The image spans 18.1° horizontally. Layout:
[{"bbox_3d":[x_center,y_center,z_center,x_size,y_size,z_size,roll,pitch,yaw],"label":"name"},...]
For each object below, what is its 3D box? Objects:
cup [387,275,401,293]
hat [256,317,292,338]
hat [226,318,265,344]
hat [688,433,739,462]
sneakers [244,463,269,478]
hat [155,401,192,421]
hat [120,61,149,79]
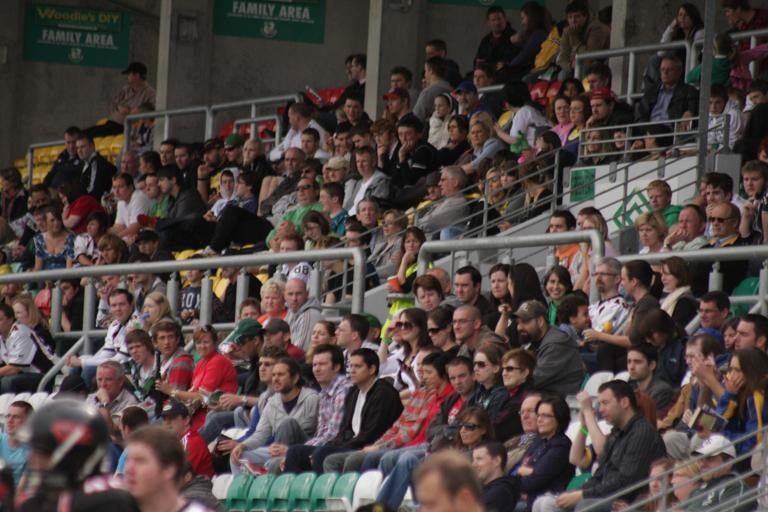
[{"bbox_3d":[0.136,0.314,31.188,0.201,0.181,0.200,-4,-5,0],"label":"cup"},{"bbox_3d":[-1.327,0.826,30.240,0.272,0.128,0.185,9,-10,-27],"label":"hat"},{"bbox_3d":[-1.739,0.891,30.551,0.412,0.208,0.258,-6,6,-5],"label":"hat"},{"bbox_3d":[3.745,2.078,27.366,0.340,0.172,0.240,11,-9,-1],"label":"hat"},{"bbox_3d":[-1.556,2.496,29.328,0.213,0.109,0.132,25,-16,-2],"label":"sneakers"},{"bbox_3d":[-2.544,1.811,29.397,0.282,0.153,0.198,10,-14,-28],"label":"hat"},{"bbox_3d":[-4.320,-3.177,41.121,0.565,0.307,0.379,13,1,-1],"label":"hat"}]
